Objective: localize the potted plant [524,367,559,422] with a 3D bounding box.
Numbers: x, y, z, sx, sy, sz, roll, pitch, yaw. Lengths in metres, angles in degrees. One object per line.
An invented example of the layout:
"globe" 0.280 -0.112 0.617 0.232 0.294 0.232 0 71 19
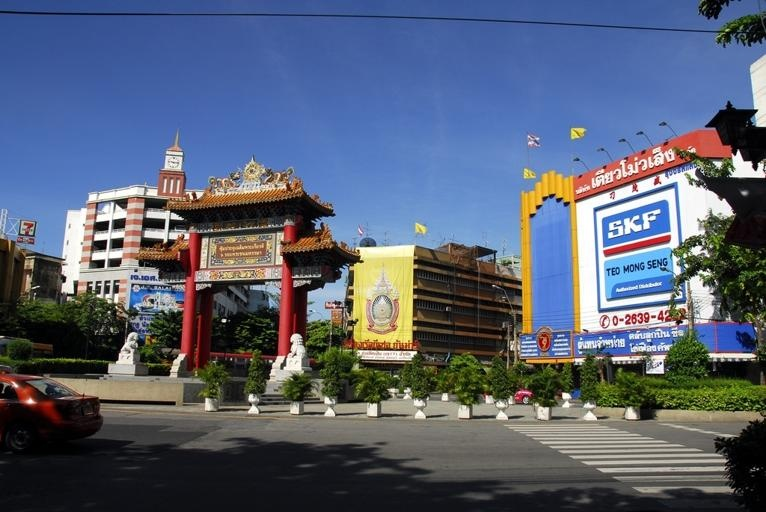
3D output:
"potted plant" 8.271 7.004 35.556 1.544 2.803 2.086 -3 -14 13

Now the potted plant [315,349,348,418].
"potted plant" -2.783 6.818 36.885 1.693 3.423 1.417 0 9 2

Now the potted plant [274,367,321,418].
"potted plant" -4.357 6.965 35.146 1.649 1.872 1.905 1 1 -5

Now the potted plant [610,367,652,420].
"potted plant" 12.808 7.184 35.766 1.514 2.492 0.920 -4 -14 18

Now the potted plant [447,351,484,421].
"potted plant" 4.078 6.383 34.381 1.776 3.242 1.636 0 -39 1

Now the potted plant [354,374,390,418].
"potted plant" -0.579 6.804 34.238 1.639 2.312 1.087 5 -14 -17

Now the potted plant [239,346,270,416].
"potted plant" -6.703 6.483 35.788 1.622 3.051 1.570 -4 -15 18
